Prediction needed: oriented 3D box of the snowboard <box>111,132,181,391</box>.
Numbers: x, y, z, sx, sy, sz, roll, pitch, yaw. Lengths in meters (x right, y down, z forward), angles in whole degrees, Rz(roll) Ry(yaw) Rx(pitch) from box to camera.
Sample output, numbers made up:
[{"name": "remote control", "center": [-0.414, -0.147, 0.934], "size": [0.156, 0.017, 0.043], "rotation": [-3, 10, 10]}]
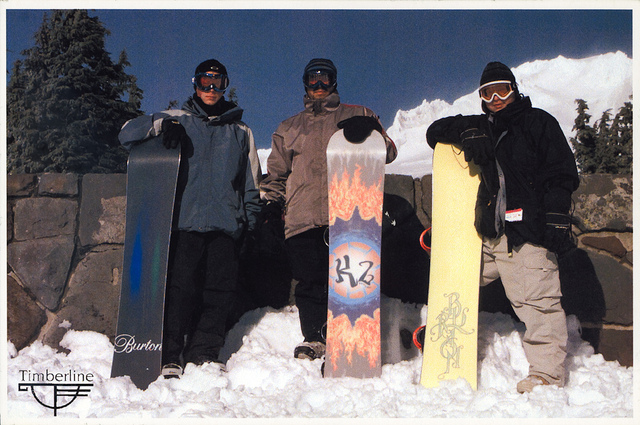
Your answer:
[{"name": "snowboard", "center": [-1.766, 0.489, 7.193], "size": [0.601, 2.688, 0.372], "rotation": [1, -9, 13]}]

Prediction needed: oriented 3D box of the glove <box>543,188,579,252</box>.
[{"name": "glove", "center": [2.362, 0.081, 6.717], "size": [0.347, 0.578, 0.133], "rotation": [1, 2, 25]}]

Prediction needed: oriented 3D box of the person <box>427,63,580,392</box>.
[{"name": "person", "center": [1.955, 0.125, 6.792], "size": [1.179, 3.278, 0.383], "rotation": [-2, -7, 10]}]

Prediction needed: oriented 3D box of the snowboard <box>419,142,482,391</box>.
[{"name": "snowboard", "center": [1.338, 0.581, 6.868], "size": [0.582, 2.560, 0.404], "rotation": [3, -4, 20]}]

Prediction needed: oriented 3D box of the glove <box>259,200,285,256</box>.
[{"name": "glove", "center": [-0.521, 0.171, 7.295], "size": [0.190, 0.708, 0.126], "rotation": [6, 29, 17]}]
